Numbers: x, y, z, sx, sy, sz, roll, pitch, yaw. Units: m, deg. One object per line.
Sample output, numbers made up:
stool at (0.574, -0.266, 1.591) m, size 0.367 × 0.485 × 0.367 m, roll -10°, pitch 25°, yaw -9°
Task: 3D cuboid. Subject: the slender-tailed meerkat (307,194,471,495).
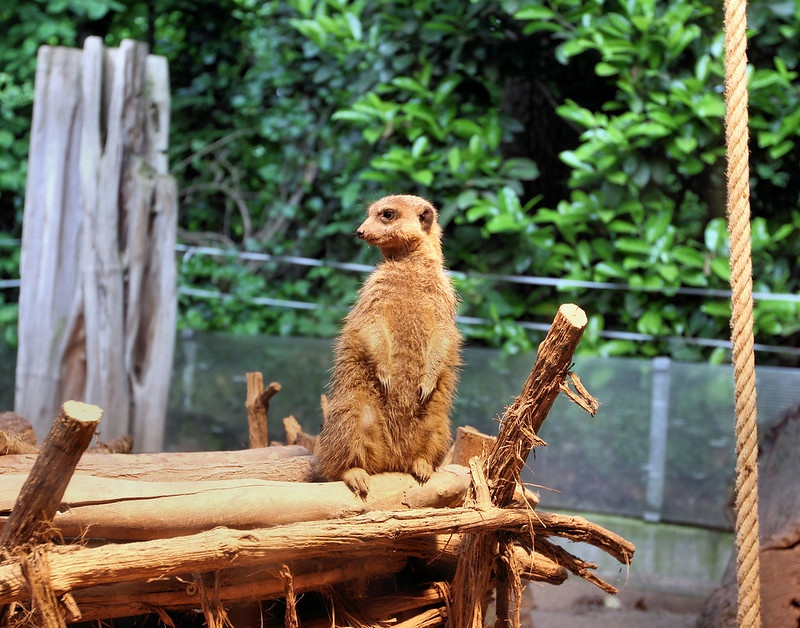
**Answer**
slender-tailed meerkat at (-0.038, 0.136, 8.761) m, size 0.721 × 1.448 × 0.634 m, roll 2°, pitch -1°, yaw 19°
